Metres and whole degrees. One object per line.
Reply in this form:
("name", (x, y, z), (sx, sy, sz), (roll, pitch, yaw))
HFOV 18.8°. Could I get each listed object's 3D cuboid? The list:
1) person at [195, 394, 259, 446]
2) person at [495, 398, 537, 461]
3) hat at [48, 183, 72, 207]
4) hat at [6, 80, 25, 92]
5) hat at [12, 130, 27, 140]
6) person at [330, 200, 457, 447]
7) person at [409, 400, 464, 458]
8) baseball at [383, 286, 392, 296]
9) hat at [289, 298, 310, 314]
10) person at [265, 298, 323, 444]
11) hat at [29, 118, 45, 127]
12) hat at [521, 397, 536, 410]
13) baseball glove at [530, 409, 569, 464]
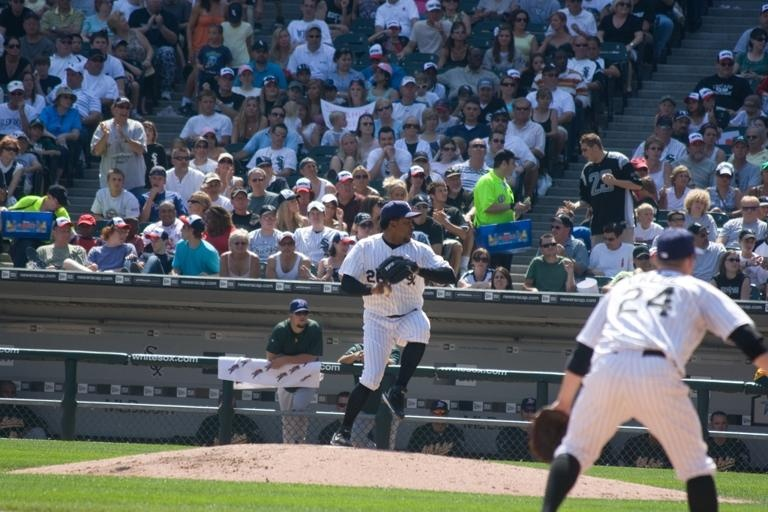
("person", (-2.273, 2.401, 34.536), (0.752, 0.180, 0.564), (14, -39, -5))
("person", (2.009, 2.502, 34.361), (0.542, 0.911, 0.539), (3, -3, 33))
("hat", (-5.101, -0.975, 36.378), (0.372, 0.206, 0.261), (35, 11, 12))
("hat", (-6.063, -2.814, 38.470), (0.259, 0.143, 0.405), (-2, 1, -18))
("hat", (-5.845, -1.958, 37.359), (0.160, 0.108, 0.263), (1, -1, -27))
("person", (0.055, 0.940, 32.737), (1.428, 3.456, 0.663), (4, -3, -1))
("person", (0.795, 2.527, 34.270), (0.745, 0.496, 1.434), (2, 23, 6))
("baseball", (0.045, 0.460, 32.615), (0.118, 0.146, 0.239), (4, -3, 0))
("hat", (-1.231, 0.709, 33.808), (0.249, 0.207, 0.198), (5, -3, -7))
("person", (-1.363, 1.762, 34.053), (0.900, 2.303, 0.674), (-9, 17, -39))
("hat", (-5.640, -2.181, 37.970), (0.218, 0.162, 0.280), (5, -3, -14))
("hat", (2.136, 2.146, 34.555), (0.169, 0.159, 0.171), (3, -8, -18))
("baseball glove", (2.144, 2.291, 30.880), (0.304, 0.687, 0.534), (21, -5, -4))
